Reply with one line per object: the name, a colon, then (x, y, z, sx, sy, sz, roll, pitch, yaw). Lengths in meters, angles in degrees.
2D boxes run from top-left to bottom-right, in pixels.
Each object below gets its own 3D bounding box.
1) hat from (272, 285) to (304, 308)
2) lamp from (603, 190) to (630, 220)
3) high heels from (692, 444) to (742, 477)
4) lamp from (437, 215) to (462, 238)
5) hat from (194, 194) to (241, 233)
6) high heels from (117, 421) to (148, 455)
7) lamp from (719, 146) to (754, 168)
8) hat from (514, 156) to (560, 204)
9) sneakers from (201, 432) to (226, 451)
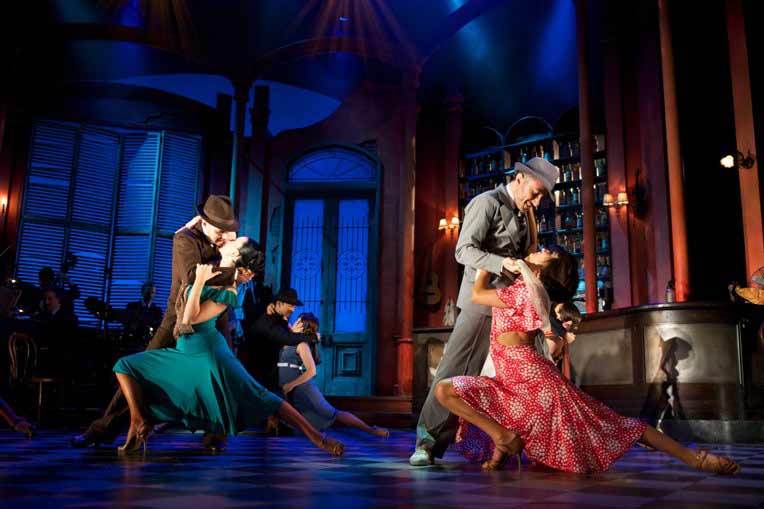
hat: (-1.068, 0.456, 6.552, 0.313, 0.157, 0.258, 2, -6, 23)
lamp: (4.067, -0.892, 10.268, 0.590, 0.530, 0.331, -1, -14, 11)
high heels: (2.231, 1.404, 3.949, 0.244, 0.162, 0.090, 7, -29, 23)
lamp: (1.338, -0.542, 11.901, 0.471, 0.467, 0.336, -3, -10, 28)
hat: (-1.306, -0.306, 4.696, 0.315, 0.119, 0.247, 39, 31, 13)
high heels: (-1.912, 1.418, 4.539, 0.348, 0.180, 0.110, -20, -4, 20)
lamp: (5.119, -1.401, 8.503, 0.235, 0.228, 0.430, -2, 4, -1)
hat: (1.165, -0.578, 4.367, 0.296, 0.125, 0.267, 35, -13, 15)
sneakers: (-1.444, 1.619, 5.080, 0.152, 0.080, 0.193, 10, -17, -29)
